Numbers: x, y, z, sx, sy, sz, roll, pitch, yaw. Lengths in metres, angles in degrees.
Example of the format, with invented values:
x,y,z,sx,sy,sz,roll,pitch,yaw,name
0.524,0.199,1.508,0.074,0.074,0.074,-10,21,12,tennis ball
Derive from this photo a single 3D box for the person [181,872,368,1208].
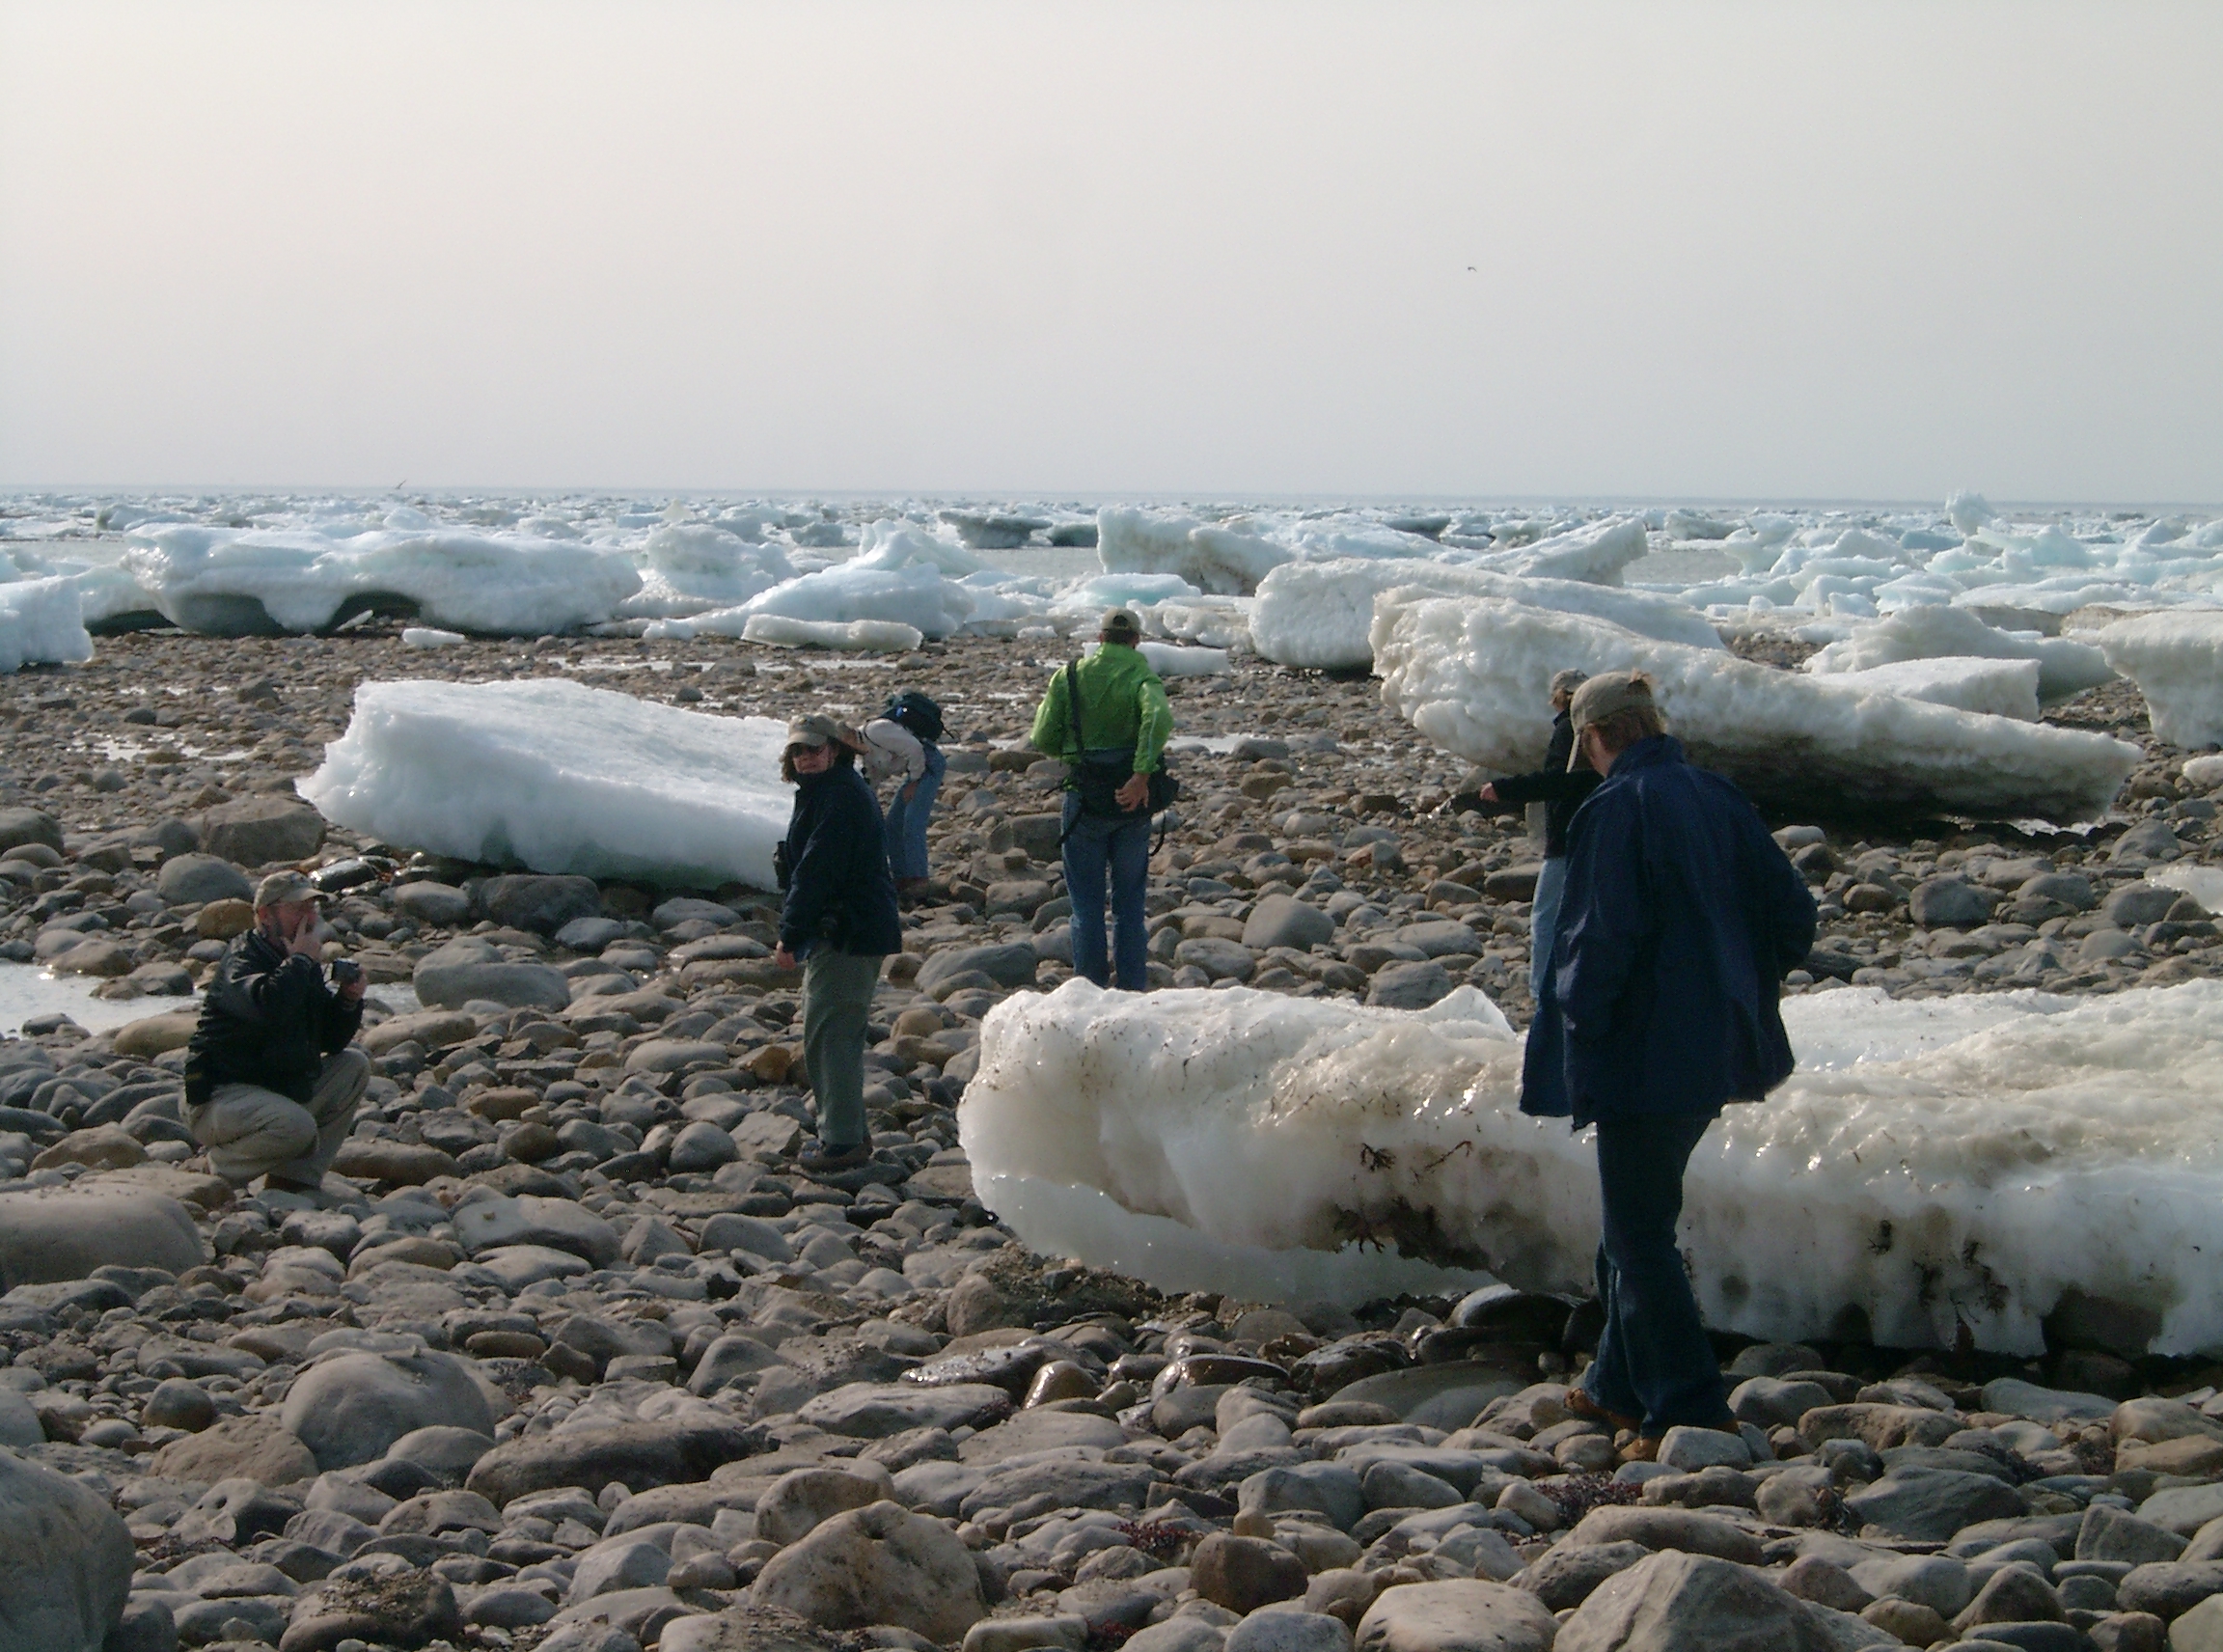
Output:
x,y,z,sx,sy,sz,roll,pitch,yaw,name
-2.721,0.665,7.872,0.544,0.995,0.337,0,11,-14,person

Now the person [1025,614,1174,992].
x,y,z,sx,sy,sz,roll,pitch,yaw,name
-0.028,-0.086,9.441,0.548,1.507,0.643,2,11,-1,person

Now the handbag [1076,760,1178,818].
x,y,z,sx,sy,sz,roll,pitch,yaw,name
0.063,-0.146,9.387,0.398,0.217,0.198,1,10,-6,handbag

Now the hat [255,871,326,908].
x,y,z,sx,sy,sz,roll,pitch,yaw,name
-2.933,0.226,8.645,0.351,0.120,0.197,-3,5,-21,hat

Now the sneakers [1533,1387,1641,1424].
x,y,z,sx,sy,sz,roll,pitch,yaw,name
1.216,1.505,6.312,0.148,0.039,0.131,0,-4,34,sneakers

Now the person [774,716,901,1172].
x,y,z,sx,sy,sz,roll,pitch,yaw,name
-0.940,0.383,8.272,0.394,1.523,0.377,1,11,-6,person

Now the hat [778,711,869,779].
x,y,z,sx,sy,sz,roll,pitch,yaw,name
-0.988,-0.315,8.231,0.283,0.122,0.275,-1,-21,1,hat

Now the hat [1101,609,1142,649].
x,y,z,sx,sy,sz,roll,pitch,yaw,name
0.046,-0.762,9.384,0.156,0.136,0.164,3,13,7,hat

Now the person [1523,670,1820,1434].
x,y,z,sx,sy,sz,roll,pitch,yaw,name
1.404,0.578,6.169,0.683,1.907,0.486,5,12,12,person
